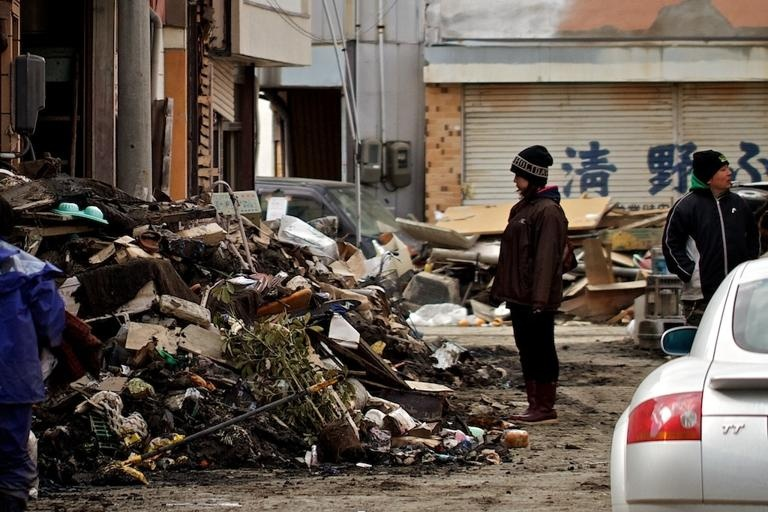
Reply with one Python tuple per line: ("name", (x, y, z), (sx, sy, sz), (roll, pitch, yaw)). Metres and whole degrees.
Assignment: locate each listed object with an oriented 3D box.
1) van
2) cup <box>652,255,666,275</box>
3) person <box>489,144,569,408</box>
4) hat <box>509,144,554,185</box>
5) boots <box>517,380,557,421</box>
("van", (-0.755, -0.619, 21.393), (2.653, 1.342, 1.501), (1, 7, 1))
("cup", (4.024, 0.127, 18.035), (0.261, 0.260, 0.254), (0, 6, 0))
("person", (1.673, 0.280, 13.794), (0.524, 3.005, 0.634), (-3, 4, -37))
("hat", (1.733, -1.056, 13.976), (0.507, 0.410, 0.362), (7, 13, -5))
("boots", (1.758, 1.605, 13.714), (0.461, 0.416, 0.400), (2, -4, -9))
